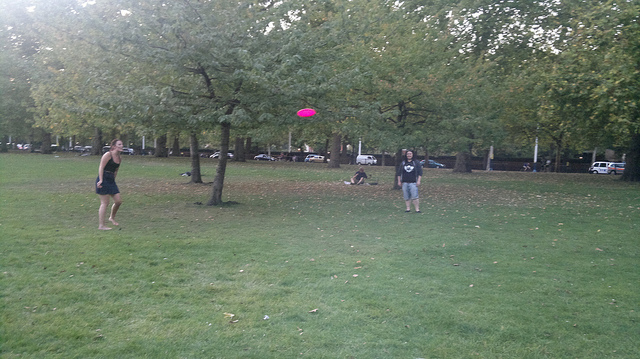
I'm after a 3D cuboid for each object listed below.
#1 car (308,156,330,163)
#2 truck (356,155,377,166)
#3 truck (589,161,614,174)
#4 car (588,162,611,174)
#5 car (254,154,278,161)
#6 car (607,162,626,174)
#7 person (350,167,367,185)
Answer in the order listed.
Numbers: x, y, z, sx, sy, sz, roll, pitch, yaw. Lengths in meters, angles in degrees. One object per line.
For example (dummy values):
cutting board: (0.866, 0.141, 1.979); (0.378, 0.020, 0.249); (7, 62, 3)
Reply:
car: (-0.387, -3.606, 84.366); (3.554, 0.986, 1.964); (-3, 2, 11)
truck: (7.947, -3.292, 78.642); (3.108, 1.188, 1.710); (0, 3, 8)
truck: (36.496, -1.495, 60.012); (2.882, 1.149, 1.613); (-1, 2, 30)
car: (36.358, -1.527, 60.104); (2.421, 0.954, 1.353); (0, 2, 31)
car: (-10.184, -4.009, 86.488); (3.864, 0.964, 2.017); (0, 5, -3)
car: (37.722, -1.416, 58.959); (1.792, 1.289, 1.376); (0, 3, -31)
person: (2.885, -0.261, 34.068); (1.056, 1.223, 1.726); (2, 3, 4)
